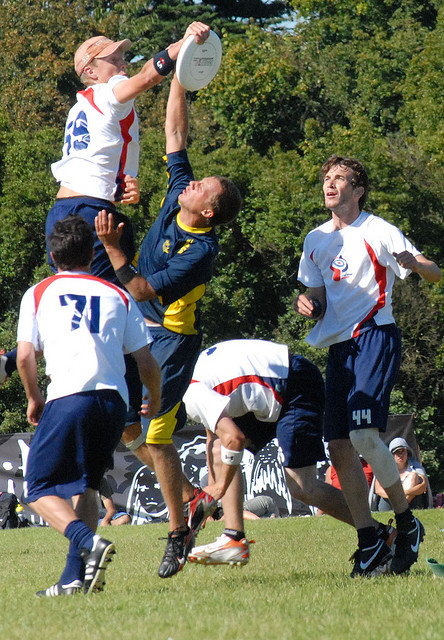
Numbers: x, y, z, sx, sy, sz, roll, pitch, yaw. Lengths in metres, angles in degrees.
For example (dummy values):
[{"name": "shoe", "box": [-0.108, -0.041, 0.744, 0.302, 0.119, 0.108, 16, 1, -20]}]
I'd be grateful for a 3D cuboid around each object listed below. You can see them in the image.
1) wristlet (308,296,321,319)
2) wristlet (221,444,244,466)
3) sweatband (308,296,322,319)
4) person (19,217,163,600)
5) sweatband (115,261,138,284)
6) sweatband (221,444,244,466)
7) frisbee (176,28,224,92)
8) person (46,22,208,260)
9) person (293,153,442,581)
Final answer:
[{"name": "wristlet", "box": [0.566, -0.078, 6.462, 0.072, 0.092, 0.103, 4, 51, -15]}, {"name": "wristlet", "box": [0.056, 0.769, 6.172, 0.116, 0.079, 0.110, 5, -2, 0]}, {"name": "sweatband", "box": [0.548, -0.080, 6.495, 0.075, 0.092, 0.104, 7, 48, -19]}, {"name": "person", "box": [-0.685, 0.410, 5.748, 0.743, 2.014, 0.606, -2, -7, -8]}, {"name": "sweatband", "box": [-0.543, -0.289, 6.357, 0.128, 0.100, 0.127, -42, 15, -29]}, {"name": "sweatband", "box": [0.060, 0.770, 6.174, 0.116, 0.079, 0.110, 4, -1, -1]}, {"name": "frisbee", "box": [-0.161, -1.694, 6.965, 0.380, 0.348, 0.085, -2, 25, -35]}, {"name": "person", "box": [-0.667, -1.216, 6.722, 0.859, 1.282, 0.511, -6, -8, 22]}, {"name": "person", "box": [0.847, 0.167, 6.365, 0.614, 2.576, 0.892, 1, -8, -29]}]
